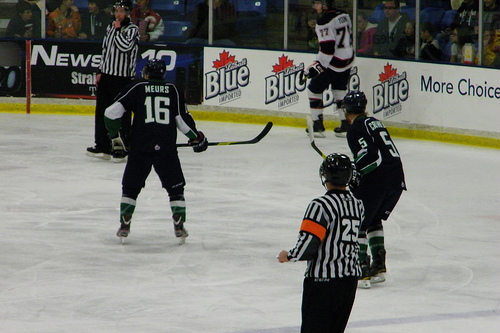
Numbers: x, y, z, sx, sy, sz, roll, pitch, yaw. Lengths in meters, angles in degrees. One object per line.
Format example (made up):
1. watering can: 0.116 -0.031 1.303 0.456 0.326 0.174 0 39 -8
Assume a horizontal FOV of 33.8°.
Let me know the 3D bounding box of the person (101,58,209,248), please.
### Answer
1. person: -0.911 -0.075 7.836 0.961 1.469 0.403 2 10 -9

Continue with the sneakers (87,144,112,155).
1. sneakers: -1.899 -0.217 10.331 0.347 0.137 0.116 6 5 4

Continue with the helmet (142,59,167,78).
1. helmet: -0.890 -0.913 7.822 0.178 0.202 0.217 6 -6 -21

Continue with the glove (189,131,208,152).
1. glove: -0.518 -0.245 8.053 0.133 0.158 0.212 -20 25 -8

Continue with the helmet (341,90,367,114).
1. helmet: 0.932 -0.538 7.210 0.232 0.245 0.268 -4 15 -10

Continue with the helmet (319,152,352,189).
1. helmet: 0.638 0.051 6.028 0.258 0.265 0.285 -2 4 -13

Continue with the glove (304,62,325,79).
1. glove: 0.880 -1.319 11.271 0.191 0.236 0.274 -5 12 -43
